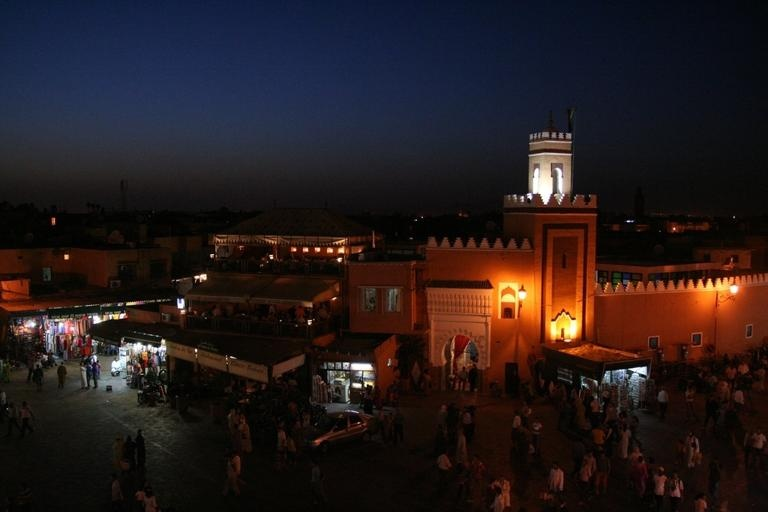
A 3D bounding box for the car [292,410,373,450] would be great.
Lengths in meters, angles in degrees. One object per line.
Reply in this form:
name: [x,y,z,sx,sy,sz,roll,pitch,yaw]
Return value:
car: [-2.031,7.442,29.431,2.825,0.985,1.249,-4,8,-36]
